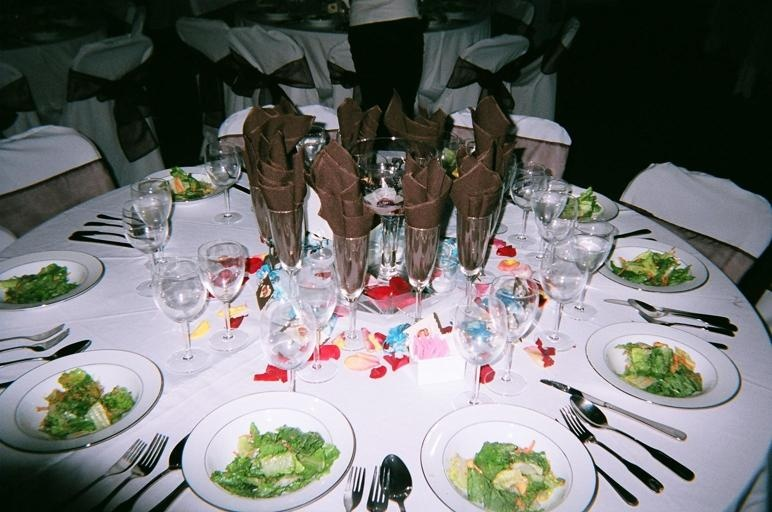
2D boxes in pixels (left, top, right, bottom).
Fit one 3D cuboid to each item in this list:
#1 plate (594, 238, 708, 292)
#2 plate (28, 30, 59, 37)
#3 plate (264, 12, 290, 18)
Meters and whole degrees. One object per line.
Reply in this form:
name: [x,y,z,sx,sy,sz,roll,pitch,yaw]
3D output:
plate: [1.013,0.049,1.947,0.232,0.057,0.237,14,45,31]
plate: [-2.673,-1.727,4.093,0.178,0.046,0.095,-28,45,-31]
plate: [-0.986,-2.188,4.758,0.189,0.010,0.235,-8,38,-10]
